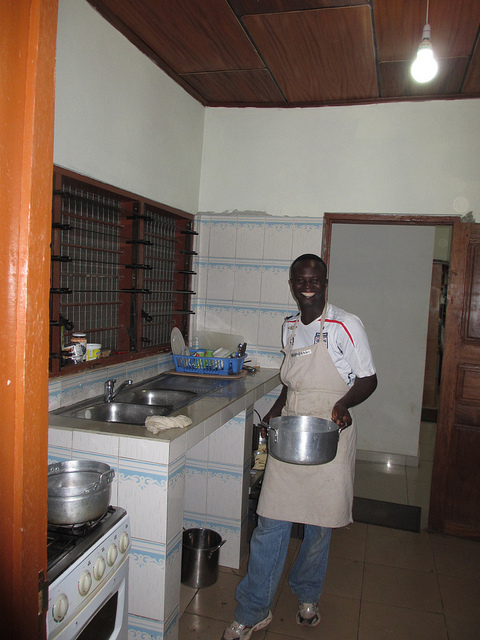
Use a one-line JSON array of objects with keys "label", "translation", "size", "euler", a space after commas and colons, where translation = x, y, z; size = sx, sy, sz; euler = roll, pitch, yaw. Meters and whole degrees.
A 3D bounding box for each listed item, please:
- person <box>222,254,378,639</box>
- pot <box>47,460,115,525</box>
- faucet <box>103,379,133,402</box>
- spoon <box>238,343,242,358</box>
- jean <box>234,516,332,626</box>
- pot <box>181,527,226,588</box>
[{"label": "person", "translation": [0.277, 0.518, 1.955], "size": [0.500, 1.574, 0.690], "euler": [4, 3, 30]}, {"label": "pot", "translation": [-0.454, 0.447, 1.246], "size": [0.259, 0.141, 0.222], "euler": [11, -12, -25]}, {"label": "faucet", "translation": [-0.545, 0.315, 2.100], "size": [0.078, 0.117, 0.170], "euler": [0, 4, -42]}, {"label": "spoon", "translation": [0.000, 0.191, 2.981], "size": [0.017, 0.075, 0.016], "euler": [21, -21, -39]}, {"label": "jean", "translation": [0.179, 1.026, 2.011], "size": [0.383, 0.457, 0.245], "euler": [2, 3, 1]}, {"label": "pot", "translation": [-0.189, 1.149, 2.325], "size": [0.187, 0.221, 0.259], "euler": [2, 3, -4]}]
